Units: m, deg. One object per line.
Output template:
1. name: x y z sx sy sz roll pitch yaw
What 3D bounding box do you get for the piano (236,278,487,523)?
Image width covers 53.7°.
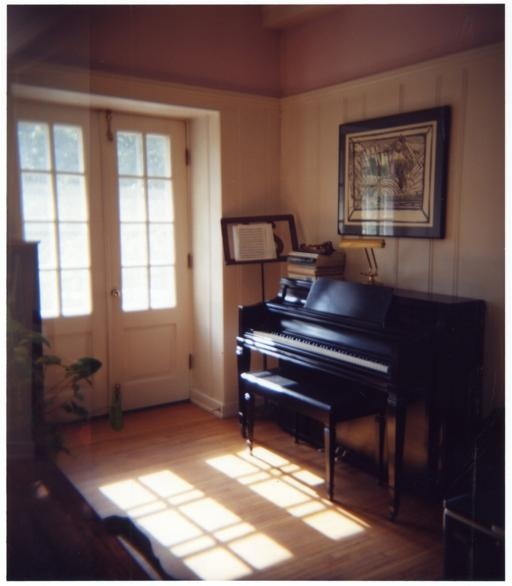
1. piano: 0.483 0.454 2.902 0.590 1.140 1.091 -6 10 -41

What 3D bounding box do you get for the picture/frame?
1. picture/frame: 0.815 -0.701 2.921 0.049 0.801 0.694 -3 7 -35

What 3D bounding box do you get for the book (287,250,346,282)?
1. book: 0.400 -0.186 3.333 0.383 0.181 0.235 0 7 5
